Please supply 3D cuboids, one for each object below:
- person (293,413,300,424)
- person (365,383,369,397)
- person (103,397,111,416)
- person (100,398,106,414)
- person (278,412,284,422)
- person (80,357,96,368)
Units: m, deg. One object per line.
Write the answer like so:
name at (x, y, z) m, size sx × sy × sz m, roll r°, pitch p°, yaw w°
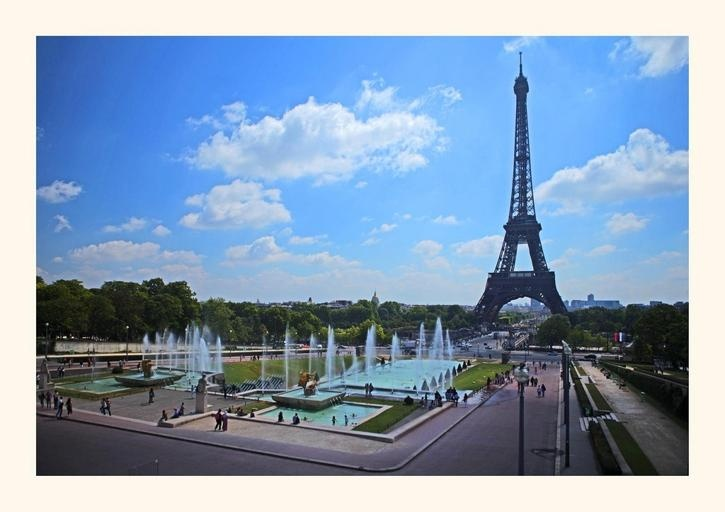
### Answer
person at (-4.405, 10.958, 35.367) m, size 0.568 × 0.895 × 0.662 m, roll -2°, pitch -16°, yaw 2°
person at (0.379, 11.568, 45.458) m, size 0.249 × 0.797 × 0.688 m, roll 1°, pitch -3°, yaw 0°
person at (-17.868, 10.636, 37.081) m, size 0.606 × 1.349 × 0.634 m, roll 2°, pitch -28°, yaw -20°
person at (-17.930, 10.525, 36.725) m, size 0.292 × 0.902 × 0.985 m, roll 2°, pitch -4°, yaw -31°
person at (-5.536, 11.039, 35.925) m, size 0.345 × 0.514 × 0.716 m, roll 1°, pitch -3°, yaw -8°
person at (-30.238, 11.764, 58.302) m, size 0.739 × 0.934 × 1.461 m, roll -9°, pitch 0°, yaw 7°
